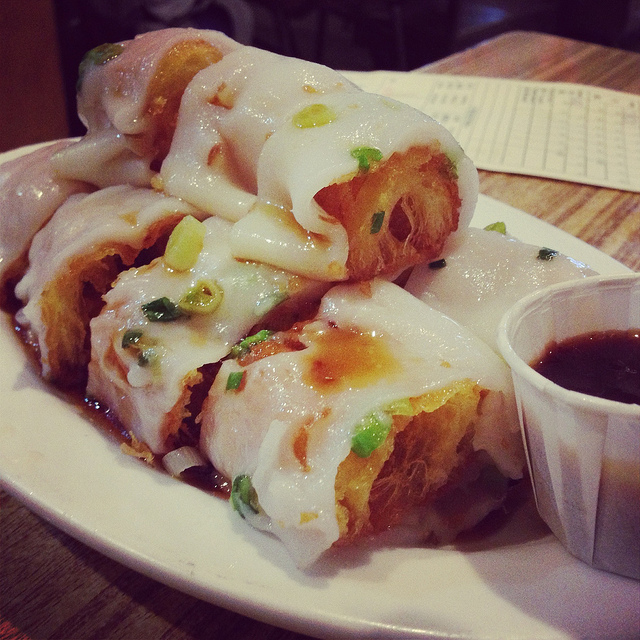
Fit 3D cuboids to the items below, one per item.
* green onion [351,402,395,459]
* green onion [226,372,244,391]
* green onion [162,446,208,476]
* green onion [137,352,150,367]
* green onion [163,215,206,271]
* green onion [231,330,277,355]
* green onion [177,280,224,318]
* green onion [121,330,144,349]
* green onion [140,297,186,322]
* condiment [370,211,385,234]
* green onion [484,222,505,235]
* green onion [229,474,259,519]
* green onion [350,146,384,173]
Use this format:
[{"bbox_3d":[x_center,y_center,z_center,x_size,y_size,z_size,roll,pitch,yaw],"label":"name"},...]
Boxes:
[{"bbox_3d":[0.089,0.196,1.242,0.101,0.076,0.087,0,15,-6],"label":"green onion"},{"bbox_3d":[-0.173,0.126,1.439,0.011,0.032,0.038,19,-11,-39],"label":"green onion"},{"bbox_3d":[-0.294,0.303,1.494,0.080,0.036,0.074,-24,47,-23],"label":"green onion"},{"bbox_3d":[-0.373,0.082,1.451,0.024,0.010,0.027,0,63,1],"label":"green onion"},{"bbox_3d":[-0.299,-0.169,1.544,0.110,0.103,0.127,-1,19,-10],"label":"green onion"},{"bbox_3d":[-0.144,0.046,1.479,0.065,0.052,0.023,-37,98,-33],"label":"green onion"},{"bbox_3d":[-0.254,-0.043,1.484,0.090,0.021,0.080,12,59,14],"label":"green onion"},{"bbox_3d":[-0.400,0.038,1.466,0.035,0.013,0.043,19,66,47],"label":"green onion"},{"bbox_3d":[-0.341,-0.016,1.471,0.058,0.019,0.057,-38,71,-8],"label":"green onion"},{"bbox_3d":[0.121,-0.205,1.469,0.028,0.041,0.010,-1,34,-16],"label":"condiment"},{"bbox_3d":[0.472,-0.245,1.890,0.063,0.023,0.072,-1,30,12],"label":"green onion"},{"bbox_3d":[-0.151,0.328,1.308,0.061,0.026,0.071,3,59,-38],"label":"green onion"},{"bbox_3d":[0.090,-0.322,1.385,0.058,0.016,0.055,-35,71,-6],"label":"green onion"}]
